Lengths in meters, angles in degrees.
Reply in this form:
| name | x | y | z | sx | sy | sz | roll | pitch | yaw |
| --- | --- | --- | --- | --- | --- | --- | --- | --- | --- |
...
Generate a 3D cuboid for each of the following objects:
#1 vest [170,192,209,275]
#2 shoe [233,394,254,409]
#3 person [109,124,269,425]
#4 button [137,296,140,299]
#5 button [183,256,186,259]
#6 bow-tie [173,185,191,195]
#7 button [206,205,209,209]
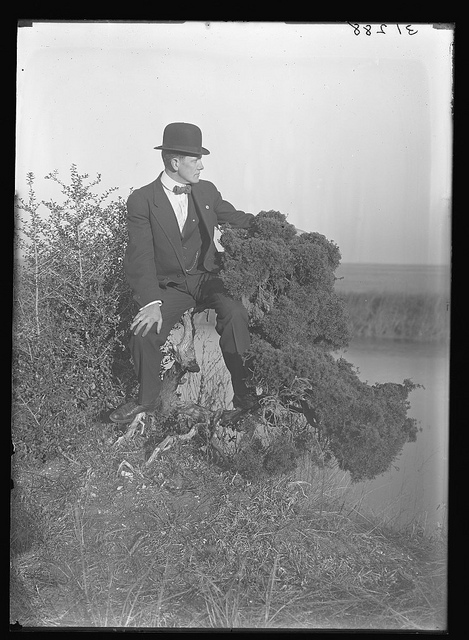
| name | x | y | z | sx | sy | sz | roll | pitch | yaw |
| --- | --- | --- | --- | --- | --- | --- | --- | --- | --- |
| vest | -0.125 | -0.252 | 2.246 | 0.096 | 0.291 | 0.035 | -13 | 33 | -26 |
| shoe | 0.024 | 0.236 | 2.231 | 0.037 | 0.047 | 0.011 | -4 | 2 | 8 |
| person | -0.105 | -0.160 | 2.280 | 0.464 | 0.764 | 0.356 | -9 | 39 | -9 |
| button | -0.274 | -0.064 | 2.230 | 0.006 | 0.008 | 0.002 | -6 | 2 | -8 |
| button | -0.143 | -0.180 | 2.243 | 0.007 | 0.008 | 0.002 | -2 | 3 | -5 |
| bow-tie | -0.149 | -0.374 | 2.229 | 0.050 | 0.026 | 0.005 | 4 | 0 | -3 |
| button | -0.076 | -0.325 | 2.228 | 0.007 | 0.009 | 0.002 | 0 | 5 | 4 |
